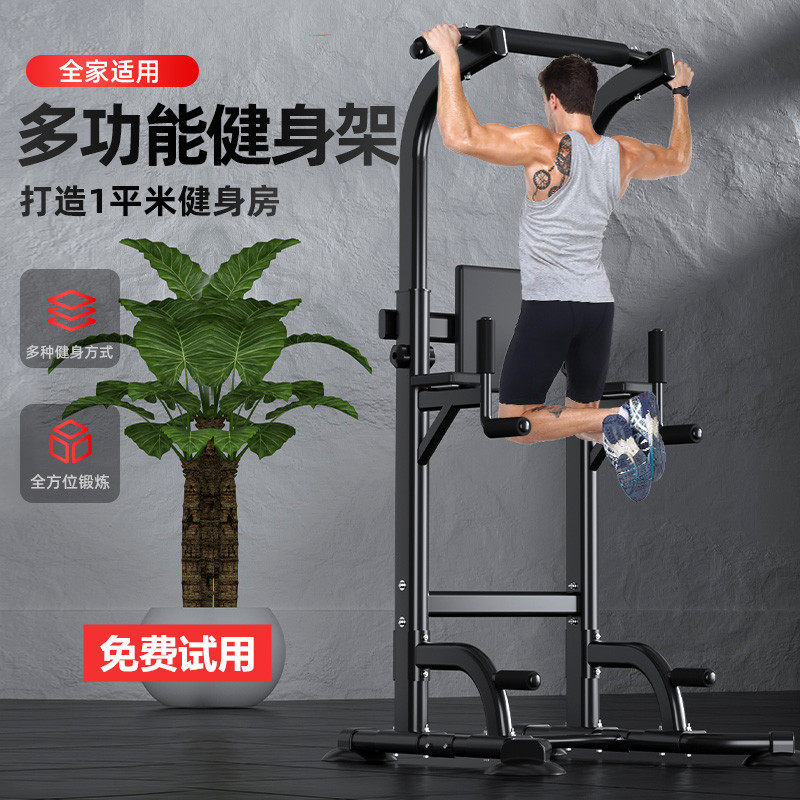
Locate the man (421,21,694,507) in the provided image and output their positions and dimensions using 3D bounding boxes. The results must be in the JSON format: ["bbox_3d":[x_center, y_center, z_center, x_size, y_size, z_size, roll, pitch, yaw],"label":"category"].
[{"bbox_3d":[0.501,-0.403,3.675,0.756,1.281,0.781,-6,18,-13],"label":"man"}]

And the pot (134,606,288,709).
[{"bbox_3d":[-0.864,1.147,5.632,0.696,0.404,0.372,3,-15,-20],"label":"pot"}]

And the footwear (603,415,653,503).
[{"bbox_3d":[0.612,0.150,3.561,0.111,0.247,0.107,-23,-4,-9],"label":"footwear"}]

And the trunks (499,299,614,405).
[{"bbox_3d":[0.449,-0.143,3.700,0.357,0.306,0.193,2,1,-28],"label":"trunks"}]

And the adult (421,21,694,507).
[{"bbox_3d":[0.499,-0.403,3.674,0.752,1.281,0.781,-6,18,-13],"label":"adult"}]
